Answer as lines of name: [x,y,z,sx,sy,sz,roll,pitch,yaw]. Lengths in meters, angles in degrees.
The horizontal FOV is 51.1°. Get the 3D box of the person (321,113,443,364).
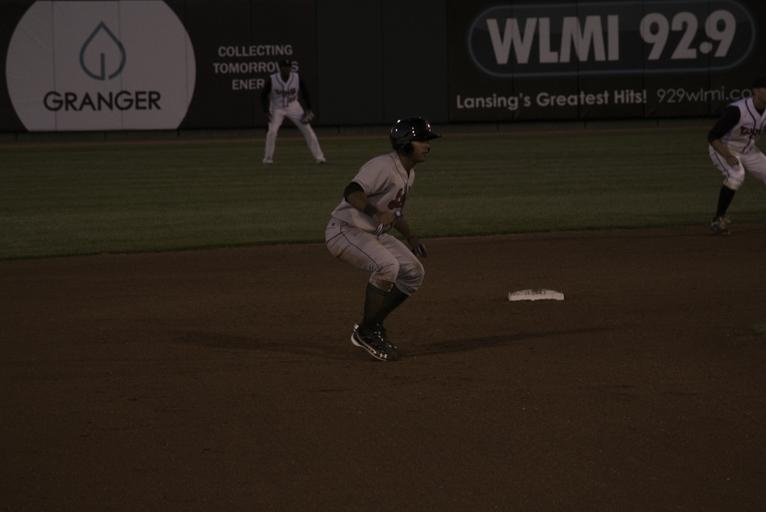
person: [-0.004,-0.175,7.880,1.093,2.252,1.068,-2,21,3]

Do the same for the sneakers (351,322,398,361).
sneakers: [-0.104,0.877,7.849,0.584,0.228,0.215,27,38,30]

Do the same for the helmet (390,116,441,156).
helmet: [0.264,-1.198,7.851,0.428,0.322,0.339,15,12,12]

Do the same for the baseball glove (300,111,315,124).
baseball glove: [-1.620,-2.943,16.756,0.239,0.243,0.393,-6,21,-9]
